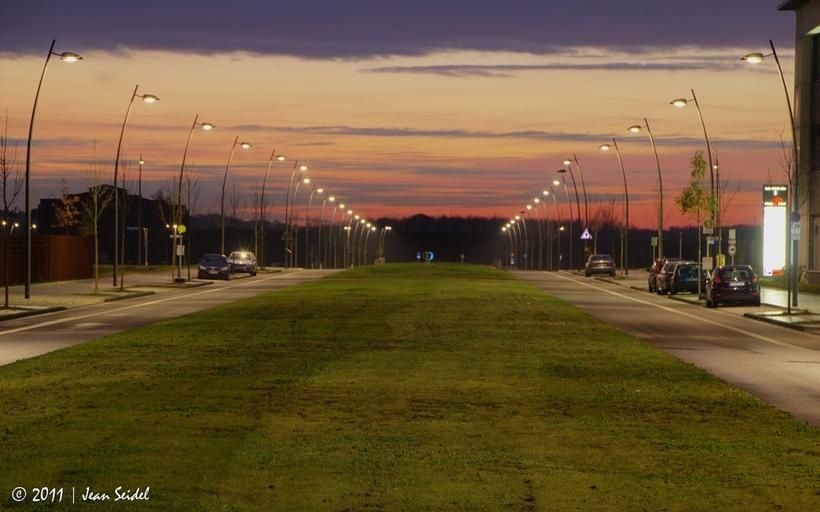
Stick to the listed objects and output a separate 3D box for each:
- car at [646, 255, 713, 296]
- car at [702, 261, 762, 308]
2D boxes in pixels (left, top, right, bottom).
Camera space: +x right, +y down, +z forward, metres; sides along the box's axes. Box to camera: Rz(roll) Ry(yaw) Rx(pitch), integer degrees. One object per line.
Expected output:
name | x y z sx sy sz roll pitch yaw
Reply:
car | 16.878 1.279 56.130 2.947 2.120 6.279 0 3 4
car | 16.111 1.474 44.515 1.992 1.759 4.293 -1 -1 17
